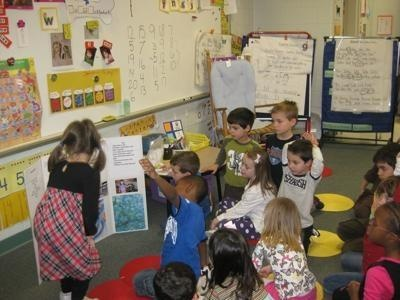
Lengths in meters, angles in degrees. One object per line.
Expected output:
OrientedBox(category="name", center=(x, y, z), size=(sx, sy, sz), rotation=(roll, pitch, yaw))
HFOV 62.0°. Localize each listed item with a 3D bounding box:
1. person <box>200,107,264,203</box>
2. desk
OrientedBox(category="person", center=(0.382, 0.219, 3.391), size=(0.496, 1.420, 0.374), rotation=(17, 28, 35))
OrientedBox(category="desk", center=(-0.143, 0.289, 3.009), size=(0.555, 0.901, 0.596), rotation=(14, 22, 38))
